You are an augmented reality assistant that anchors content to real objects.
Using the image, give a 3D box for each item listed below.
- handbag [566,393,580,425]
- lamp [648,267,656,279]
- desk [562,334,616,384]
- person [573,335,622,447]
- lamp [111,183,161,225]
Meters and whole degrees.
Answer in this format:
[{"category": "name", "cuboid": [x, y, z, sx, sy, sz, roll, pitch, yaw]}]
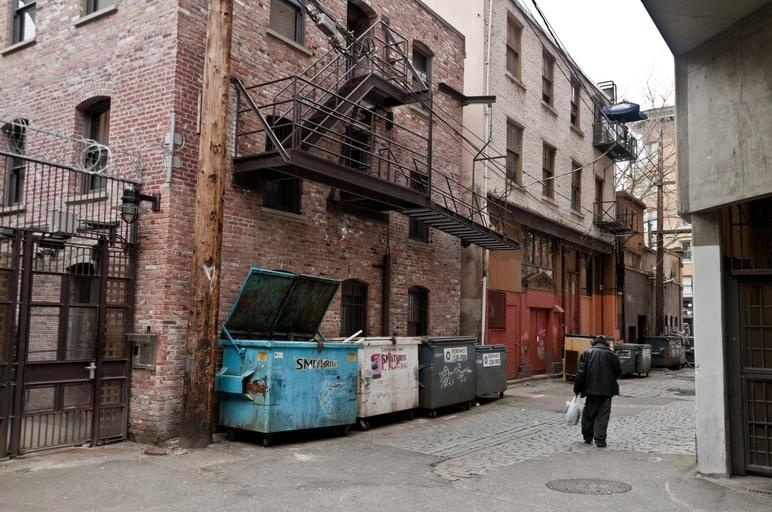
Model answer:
[{"category": "handbag", "cuboid": [3.985, 3.287, 15.531, 0.297, 0.641, 0.409, 1, 3, 13]}, {"category": "lamp", "cuboid": [14.601, 0.838, 40.168, 0.323, 0.688, 1.613, 2, 2, 23]}, {"category": "desk", "cuboid": [7.083, 3.492, 26.204, 1.430, 1.978, 1.115, 4, 10, 20]}, {"category": "person", "cuboid": [4.502, 2.869, 15.630, 0.798, 2.217, 0.867, 4, 4, 44]}, {"category": "lamp", "cuboid": [-5.224, -1.126, 15.301, 0.895, 0.785, 0.590, 2, 3, -35]}]
